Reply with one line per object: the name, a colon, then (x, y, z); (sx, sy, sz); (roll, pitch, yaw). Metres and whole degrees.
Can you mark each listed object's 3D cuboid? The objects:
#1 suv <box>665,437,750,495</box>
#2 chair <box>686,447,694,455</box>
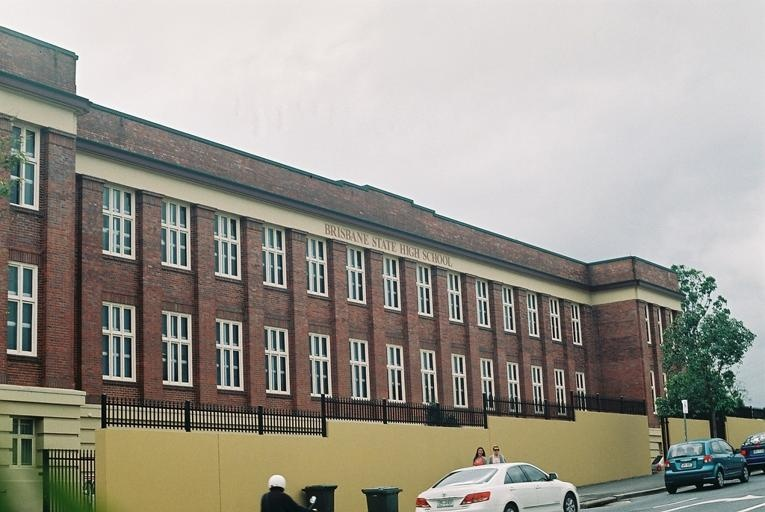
suv: (13.128, 8.505, 43.011); (3.183, 2.061, 1.738); (7, -22, -29)
chair: (12.380, 7.870, 42.572); (0.283, 0.293, 0.158); (-2, -26, 4)
